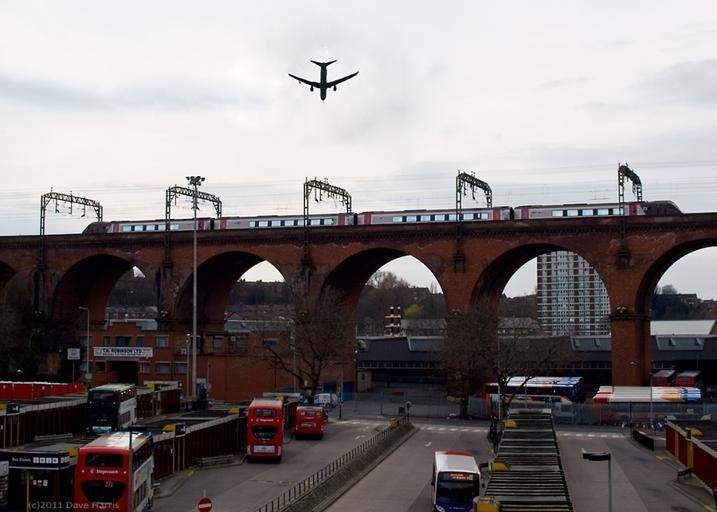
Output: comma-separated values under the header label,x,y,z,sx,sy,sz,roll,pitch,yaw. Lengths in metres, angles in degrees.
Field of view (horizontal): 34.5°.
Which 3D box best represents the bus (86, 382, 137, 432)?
label,x,y,z,sx,sy,sz,roll,pitch,yaw
bus,-15.975,9.763,75.121,1.772,2.585,5.137,-1,-4,4
